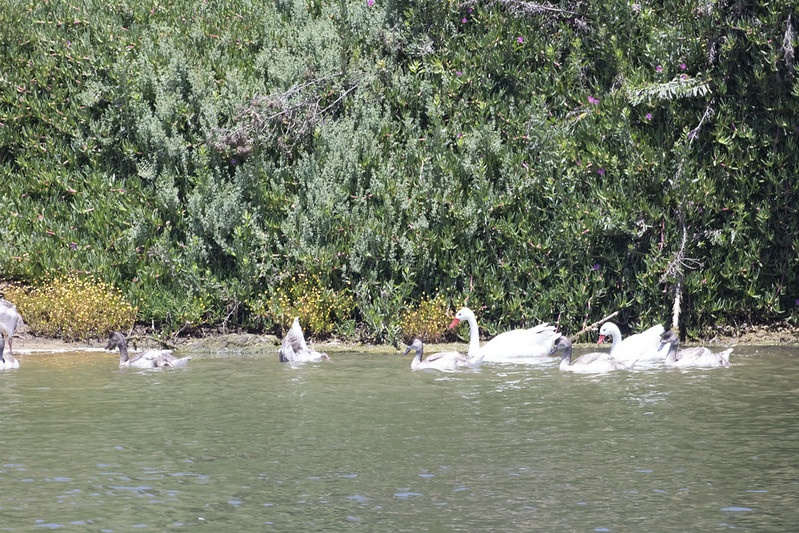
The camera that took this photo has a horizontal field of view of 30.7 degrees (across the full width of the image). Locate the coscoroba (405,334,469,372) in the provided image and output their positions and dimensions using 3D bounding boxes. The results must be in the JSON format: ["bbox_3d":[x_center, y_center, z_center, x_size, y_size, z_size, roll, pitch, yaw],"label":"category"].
[{"bbox_3d":[0.750,1.886,30.632,1.347,0.943,0.543,-1,-4,1],"label":"coscoroba"}]

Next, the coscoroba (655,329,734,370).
[{"bbox_3d":[6.089,1.705,30.318,1.429,0.598,0.660,-3,1,11],"label":"coscoroba"}]

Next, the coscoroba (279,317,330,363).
[{"bbox_3d":[-2.113,1.546,30.906,0.956,0.858,0.470,-3,1,-6],"label":"coscoroba"}]
